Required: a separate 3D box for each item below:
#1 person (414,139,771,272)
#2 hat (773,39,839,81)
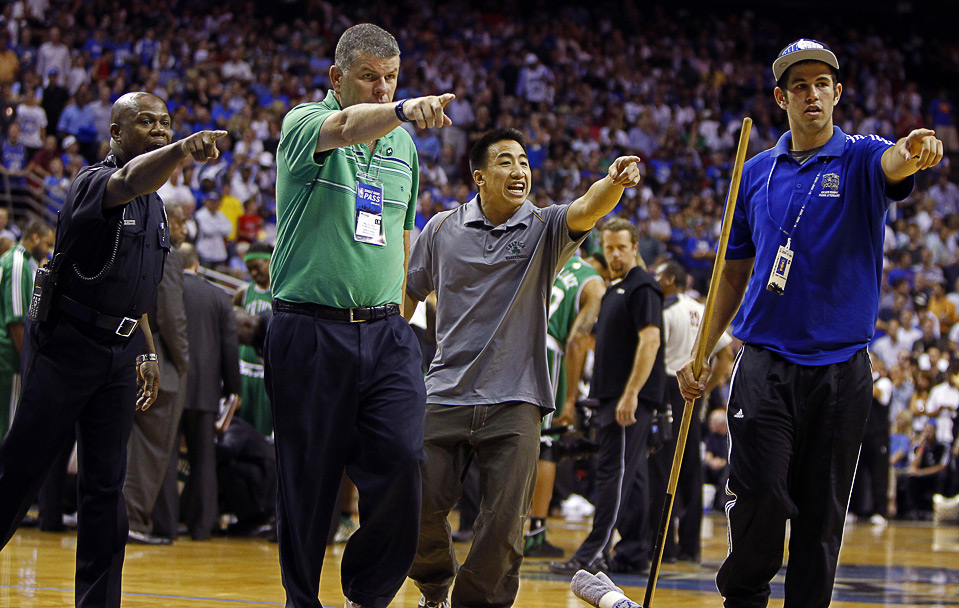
[{"bbox_3d":[0.509,-0.775,7.610,1.142,0.507,1.140,-7,12,24],"label":"person"},{"bbox_3d":[2.158,-1.675,7.565,0.383,0.262,0.497,-2,-11,1],"label":"hat"}]
